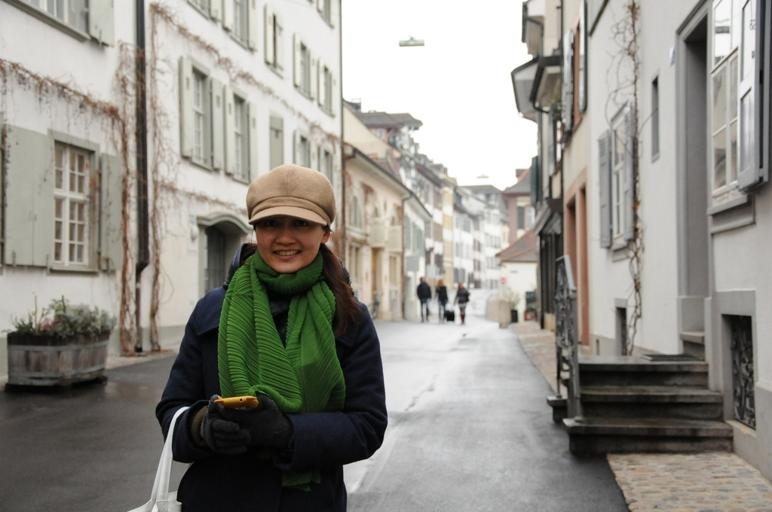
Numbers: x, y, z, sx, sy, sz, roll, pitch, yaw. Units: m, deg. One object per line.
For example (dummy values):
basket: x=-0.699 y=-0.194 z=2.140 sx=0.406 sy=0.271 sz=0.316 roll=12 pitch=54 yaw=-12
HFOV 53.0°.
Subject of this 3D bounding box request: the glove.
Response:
glove: x=-0.837 y=1.064 z=4.721 sx=0.400 sy=0.215 sz=0.468 roll=-2 pitch=-39 yaw=4
